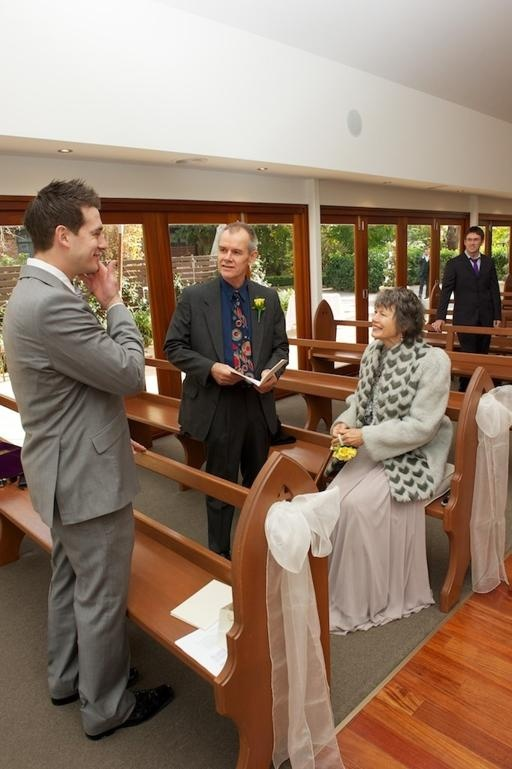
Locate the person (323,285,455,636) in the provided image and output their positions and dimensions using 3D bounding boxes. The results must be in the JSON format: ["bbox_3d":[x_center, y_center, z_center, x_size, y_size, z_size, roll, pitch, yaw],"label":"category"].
[{"bbox_3d":[0.572,0.311,2.254,0.700,1.423,0.572,-10,14,-27],"label":"person"}]

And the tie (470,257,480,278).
[{"bbox_3d":[2.493,-1.342,5.570,0.138,0.179,0.071,-5,5,-30],"label":"tie"}]

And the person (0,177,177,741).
[{"bbox_3d":[-0.446,0.311,1.297,0.329,1.598,0.410,-3,4,-15],"label":"person"}]

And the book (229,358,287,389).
[{"bbox_3d":[0.004,-0.037,2.088,0.182,0.098,0.130,14,14,13],"label":"book"}]

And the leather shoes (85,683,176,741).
[{"bbox_3d":[-0.396,1.038,1.583,0.090,0.133,0.282,6,10,32],"label":"leather shoes"}]
